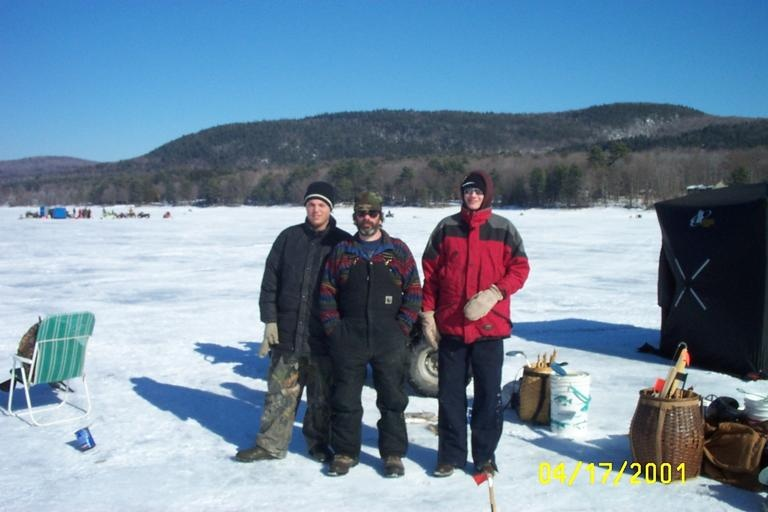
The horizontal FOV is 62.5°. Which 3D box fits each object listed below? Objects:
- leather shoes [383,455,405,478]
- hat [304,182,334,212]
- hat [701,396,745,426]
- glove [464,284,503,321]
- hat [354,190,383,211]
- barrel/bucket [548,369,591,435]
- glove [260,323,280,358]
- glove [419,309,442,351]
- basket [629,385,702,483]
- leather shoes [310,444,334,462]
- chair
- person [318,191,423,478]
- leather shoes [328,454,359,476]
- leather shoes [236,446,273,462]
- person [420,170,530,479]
[{"bbox_3d":[0.082,2.264,6.885,0.263,0.203,0.217,2,8,15],"label":"leather shoes"},{"bbox_3d":[-0.746,-0.694,7.291,0.267,0.287,0.363,7,-2,4],"label":"hat"},{"bbox_3d":[3.813,1.690,7.101,0.400,0.415,0.251,1,3,39],"label":"hat"},{"bbox_3d":[1.026,0.480,6.602,0.405,0.278,0.120,-37,-8,-3],"label":"glove"},{"bbox_3d":[-0.188,-0.614,6.910,0.293,0.207,0.321,-1,8,-3],"label":"hat"},{"bbox_3d":[2.315,1.794,8.193,0.627,0.975,0.701,0,2,15],"label":"barrel/bucket"},{"bbox_3d":[-1.298,0.938,7.146,0.275,0.345,0.092,3,-1,-14],"label":"glove"},{"bbox_3d":[0.531,0.797,6.867,0.097,0.383,0.221,-23,7,-31],"label":"glove"},{"bbox_3d":[2.996,1.910,6.749,0.704,0.849,0.346,3,9,23],"label":"basket"},{"bbox_3d":[-0.727,2.237,7.200,0.267,0.269,0.144,-4,-6,43],"label":"leather shoes"},{"bbox_3d":[-4.471,1.381,8.402,1.047,1.449,1.408,-6,10,-33],"label":"chair"},{"bbox_3d":[-0.146,0.826,6.917,1.104,3.047,0.727,-2,8,-7],"label":"person"},{"bbox_3d":[-0.467,2.283,6.943,0.159,0.154,0.334,-2,-10,13],"label":"leather shoes"},{"bbox_3d":[-1.473,2.245,7.173,0.363,0.155,0.189,8,-7,-8],"label":"leather shoes"},{"bbox_3d":[0.933,0.720,6.817,1.071,3.241,0.609,0,8,7],"label":"person"}]
